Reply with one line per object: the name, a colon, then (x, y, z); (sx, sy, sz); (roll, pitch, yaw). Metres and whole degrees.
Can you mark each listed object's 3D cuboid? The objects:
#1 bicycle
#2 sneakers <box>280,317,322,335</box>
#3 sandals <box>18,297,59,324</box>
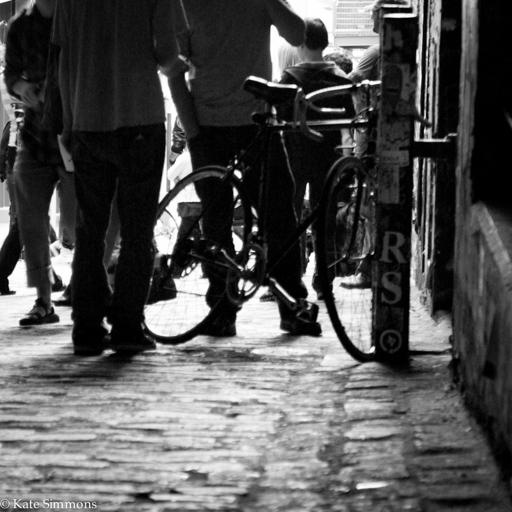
bicycle: (0.225, -0.165, 4.182); (1.817, 1.466, 0.757); (-4, -9, 40)
sneakers: (0.265, 0.415, 4.531); (0.155, 0.070, 0.124); (6, 4, 7)
sandals: (-1.438, 0.373, 5.093); (0.104, 0.180, 0.351); (1, -6, 15)
